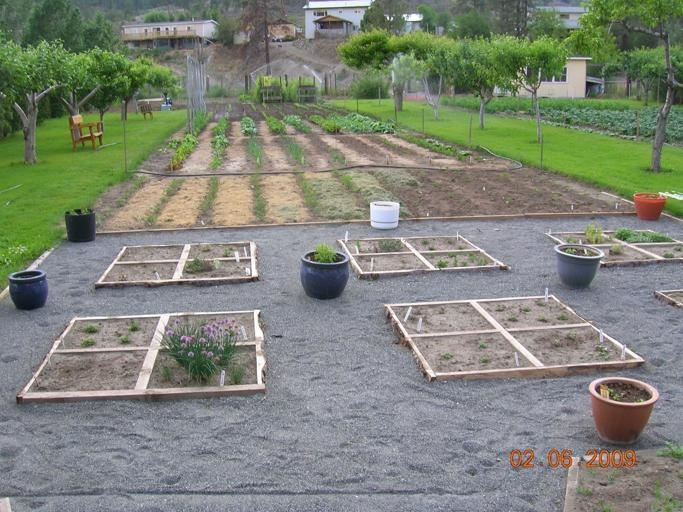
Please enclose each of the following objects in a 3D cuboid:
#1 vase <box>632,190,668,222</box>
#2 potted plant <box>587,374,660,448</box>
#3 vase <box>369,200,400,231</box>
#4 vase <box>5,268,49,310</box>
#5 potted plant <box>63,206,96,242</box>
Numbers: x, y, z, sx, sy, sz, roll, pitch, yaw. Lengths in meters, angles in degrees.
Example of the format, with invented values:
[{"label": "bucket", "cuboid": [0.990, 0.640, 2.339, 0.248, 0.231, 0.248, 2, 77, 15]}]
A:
[{"label": "vase", "cuboid": [8.315, -1.355, 14.429, 0.748, 0.557, 0.752, -5, 7, -38]}, {"label": "potted plant", "cuboid": [3.283, 1.779, 6.458, 0.740, 0.552, 0.764, -3, 14, -7]}, {"label": "vase", "cuboid": [1.132, -1.109, 13.955, 0.680, 0.550, 0.696, 6, 15, 22]}, {"label": "vase", "cuboid": [-5.470, 0.594, 9.422, 0.631, 0.621, 0.690, -5, 11, -36]}, {"label": "potted plant", "cuboid": [-6.217, -0.754, 12.893, 0.728, 0.822, 0.747, 4, 13, 11]}]
